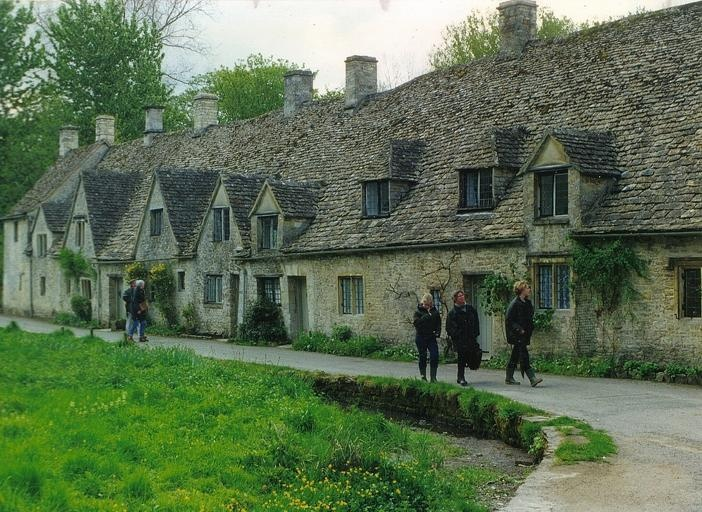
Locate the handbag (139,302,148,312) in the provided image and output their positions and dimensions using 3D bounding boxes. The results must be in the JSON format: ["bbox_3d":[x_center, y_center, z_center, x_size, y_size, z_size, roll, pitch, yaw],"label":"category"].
[{"bbox_3d":[-7.850,1.906,39.594,0.292,0.271,0.446,-6,3,-8],"label":"handbag"}]

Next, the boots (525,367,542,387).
[{"bbox_3d":[4.978,3.304,28.585,0.238,0.508,0.480,-16,-8,-43],"label":"boots"}]

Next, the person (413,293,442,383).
[{"bbox_3d":[2.066,2.194,28.526,0.691,2.362,0.903,0,-4,3],"label":"person"}]

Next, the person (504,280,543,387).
[{"bbox_3d":[4.602,2.073,28.175,0.835,2.777,0.789,0,-4,9],"label":"person"}]

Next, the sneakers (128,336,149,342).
[{"bbox_3d":[-8.003,3.074,39.241,0.414,0.208,0.154,9,-10,9],"label":"sneakers"}]

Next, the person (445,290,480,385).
[{"bbox_3d":[3.091,2.223,28.553,0.972,2.540,0.827,4,-5,-40],"label":"person"}]
